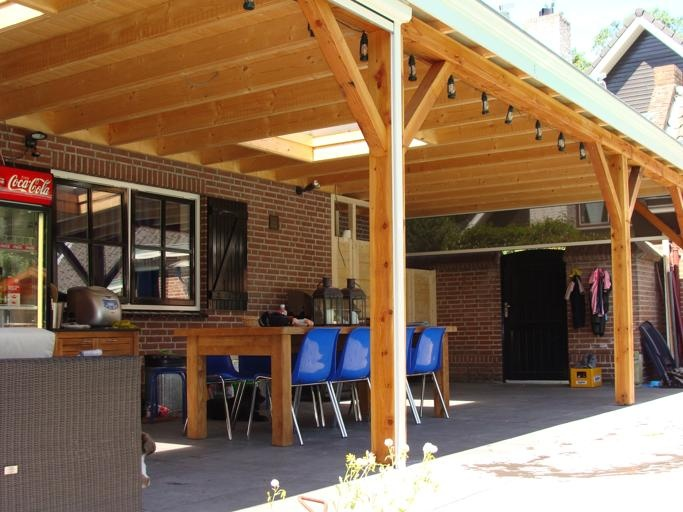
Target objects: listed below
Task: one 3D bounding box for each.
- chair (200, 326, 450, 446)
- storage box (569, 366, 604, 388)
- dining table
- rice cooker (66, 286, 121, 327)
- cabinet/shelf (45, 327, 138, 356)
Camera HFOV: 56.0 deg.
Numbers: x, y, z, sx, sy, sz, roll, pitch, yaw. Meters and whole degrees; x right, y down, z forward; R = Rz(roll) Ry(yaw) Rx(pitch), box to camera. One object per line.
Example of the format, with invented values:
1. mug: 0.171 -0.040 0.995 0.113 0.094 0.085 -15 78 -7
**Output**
1. chair: -0.195 1.319 6.538 0.629 0.538 1.344 -7 -11 41
2. storage box: 4.463 2.198 11.663 0.663 0.344 0.573 -2 -10 1
3. dining table: -0.572 1.216 6.271 1.270 1.171 3.221 -8 -11 44
4. rice cooker: -2.897 0.586 7.568 0.684 0.476 0.491 -1 -4 32
5. cabinet/shelf: -2.716 0.949 7.181 0.273 0.290 1.028 -7 -11 30
